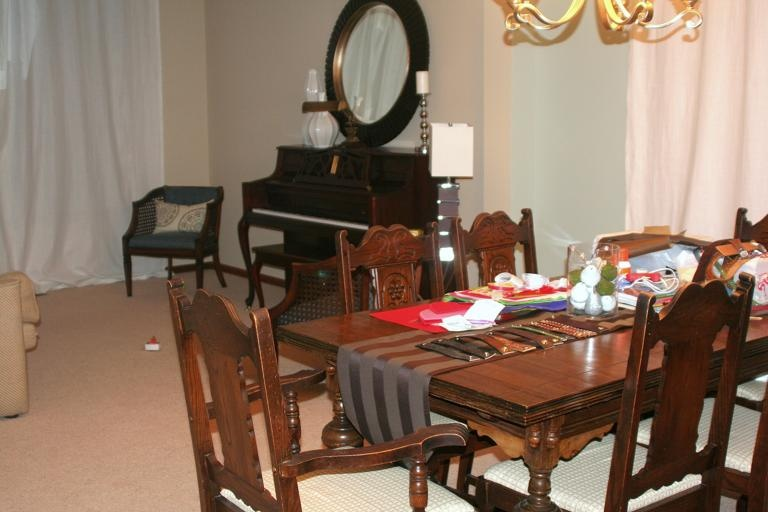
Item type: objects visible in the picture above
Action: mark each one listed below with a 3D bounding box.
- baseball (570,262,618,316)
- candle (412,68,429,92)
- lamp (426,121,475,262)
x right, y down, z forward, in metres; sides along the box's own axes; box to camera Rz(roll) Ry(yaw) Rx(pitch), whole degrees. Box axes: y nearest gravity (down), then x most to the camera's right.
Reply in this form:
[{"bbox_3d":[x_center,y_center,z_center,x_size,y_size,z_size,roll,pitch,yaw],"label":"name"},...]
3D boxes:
[{"bbox_3d":[0.870,0.136,2.490,0.176,0.232,0.171,4,12,6],"label":"baseball"},{"bbox_3d":[0.295,-1.333,4.516,0.079,0.170,0.086,-2,14,-6],"label":"candle"},{"bbox_3d":[0.474,-0.443,3.955,0.336,0.902,0.337,10,16,29],"label":"lamp"}]
